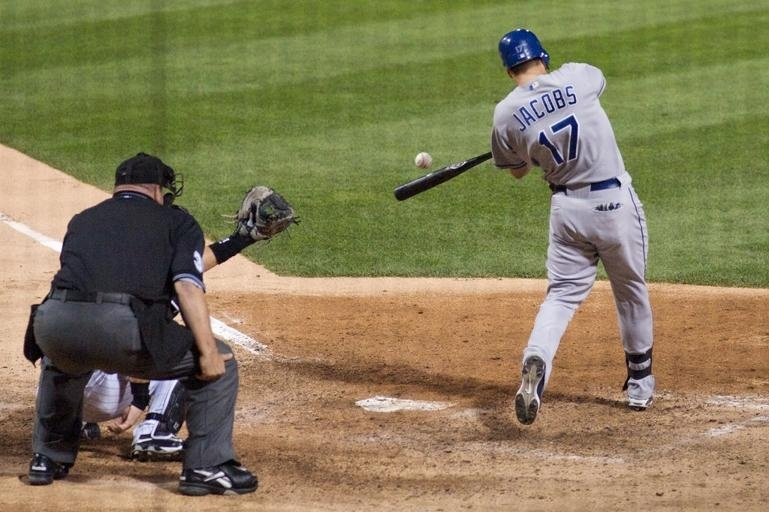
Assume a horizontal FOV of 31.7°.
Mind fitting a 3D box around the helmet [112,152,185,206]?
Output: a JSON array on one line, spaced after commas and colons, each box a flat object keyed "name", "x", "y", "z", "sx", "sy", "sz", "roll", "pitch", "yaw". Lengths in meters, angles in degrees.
[{"name": "helmet", "x": -2.032, "y": -0.659, "z": 11.645, "sx": 0.516, "sy": 0.401, "sz": 0.649, "roll": 8, "pitch": 9, "yaw": 26}]

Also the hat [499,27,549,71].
[{"name": "hat", "x": 1.219, "y": -1.836, "z": 12.042, "sx": 0.435, "sy": 0.306, "sz": 0.341, "roll": -33, "pitch": 12, "yaw": -24}]

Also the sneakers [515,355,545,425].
[{"name": "sneakers", "x": 1.300, "y": 1.155, "z": 11.713, "sx": 0.266, "sy": 0.556, "sz": 0.285, "roll": 6, "pitch": -17, "yaw": 14}]

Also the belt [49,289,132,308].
[{"name": "belt", "x": -2.423, "y": 0.345, "z": 11.116, "sx": 0.688, "sy": 0.107, "sz": 0.141, "roll": 2, "pitch": -2, "yaw": 16}]

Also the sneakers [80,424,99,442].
[{"name": "sneakers", "x": -2.595, "y": 1.562, "z": 11.924, "sx": 0.106, "sy": 0.118, "sz": 0.193, "roll": 3, "pitch": 9, "yaw": -7}]

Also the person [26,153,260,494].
[{"name": "person", "x": -2.049, "y": 0.551, "z": 11.272, "sx": 1.776, "sy": 2.221, "sz": 0.516, "roll": 4, "pitch": -2, "yaw": -12}]

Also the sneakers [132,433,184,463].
[{"name": "sneakers", "x": -1.935, "y": 1.649, "z": 11.615, "sx": 0.617, "sy": 0.257, "sz": 0.199, "roll": 0, "pitch": -5, "yaw": -7}]

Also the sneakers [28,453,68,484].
[{"name": "sneakers", "x": -2.815, "y": 1.767, "z": 11.281, "sx": 0.185, "sy": 0.157, "sz": 0.371, "roll": 3, "pitch": 5, "yaw": 18}]

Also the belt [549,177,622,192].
[{"name": "belt", "x": 1.753, "y": -0.602, "z": 11.875, "sx": 0.635, "sy": 0.147, "sz": 0.154, "roll": 2, "pitch": -2, "yaw": 28}]

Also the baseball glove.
[{"name": "baseball glove", "x": -1.030, "y": -0.349, "z": 11.447, "sx": 0.577, "sy": 0.385, "sz": 0.245, "roll": -26, "pitch": -22, "yaw": -20}]

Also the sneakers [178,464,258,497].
[{"name": "sneakers", "x": -1.372, "y": 1.858, "z": 11.216, "sx": 0.640, "sy": 0.256, "sz": 0.254, "roll": -1, "pitch": 2, "yaw": -8}]
